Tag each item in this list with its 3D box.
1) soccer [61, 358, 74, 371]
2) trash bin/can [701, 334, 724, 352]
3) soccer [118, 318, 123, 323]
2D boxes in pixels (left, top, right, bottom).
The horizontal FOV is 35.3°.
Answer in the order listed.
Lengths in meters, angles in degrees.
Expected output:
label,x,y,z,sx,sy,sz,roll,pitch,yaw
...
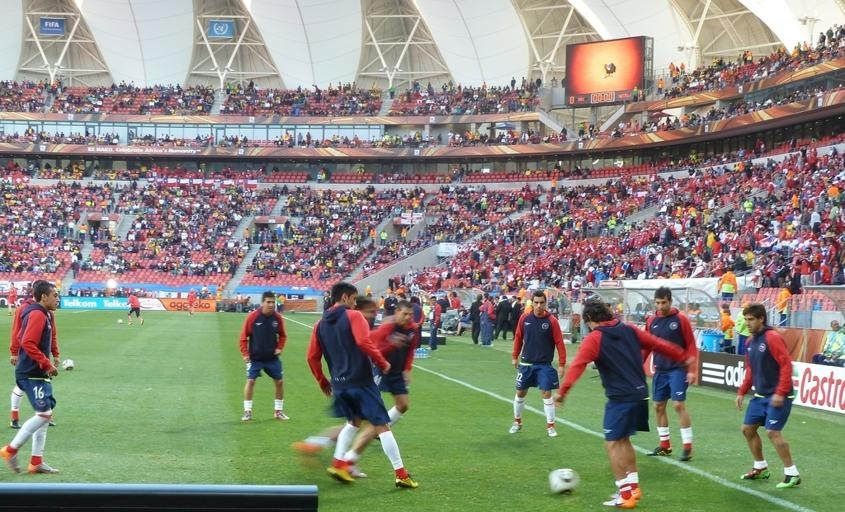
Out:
label,x,y,z,sx,sy,sz,roll,pitch,yaw
soccer,-19.750,6.047,73.887,0.688,0.688,0.696,-16,-30,-19
trash bin/can,16.375,4.917,75.080,1.102,1.019,1.085,4,-8,-41
soccer,-20.560,4.492,90.371,0.282,0.302,0.364,-2,-22,-43
